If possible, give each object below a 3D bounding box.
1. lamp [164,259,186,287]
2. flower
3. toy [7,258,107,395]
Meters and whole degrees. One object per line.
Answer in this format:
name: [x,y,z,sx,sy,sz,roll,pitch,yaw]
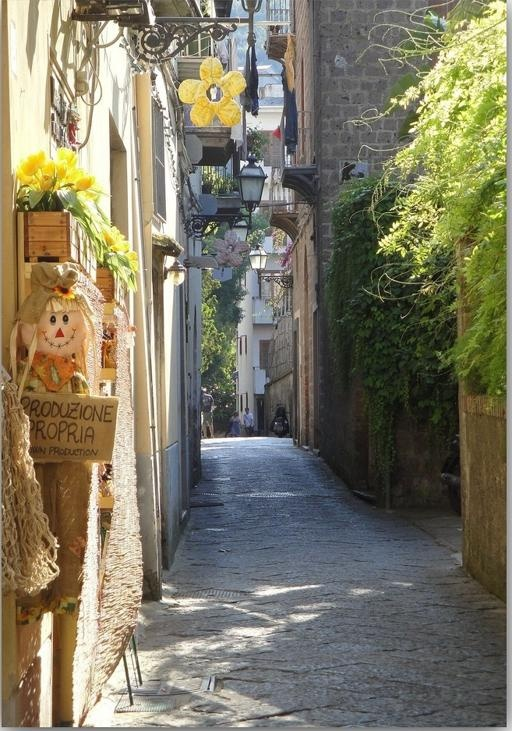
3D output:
lamp: [-0.724,-0.826,9.344,0.169,0.338,0.201,-1,4,-15]
flower: [-0.638,-0.525,3.496,0.228,0.227,0.482,11,14,1]
toy: [-0.616,-0.111,3.175,0.229,0.391,0.324,0,-1,3]
